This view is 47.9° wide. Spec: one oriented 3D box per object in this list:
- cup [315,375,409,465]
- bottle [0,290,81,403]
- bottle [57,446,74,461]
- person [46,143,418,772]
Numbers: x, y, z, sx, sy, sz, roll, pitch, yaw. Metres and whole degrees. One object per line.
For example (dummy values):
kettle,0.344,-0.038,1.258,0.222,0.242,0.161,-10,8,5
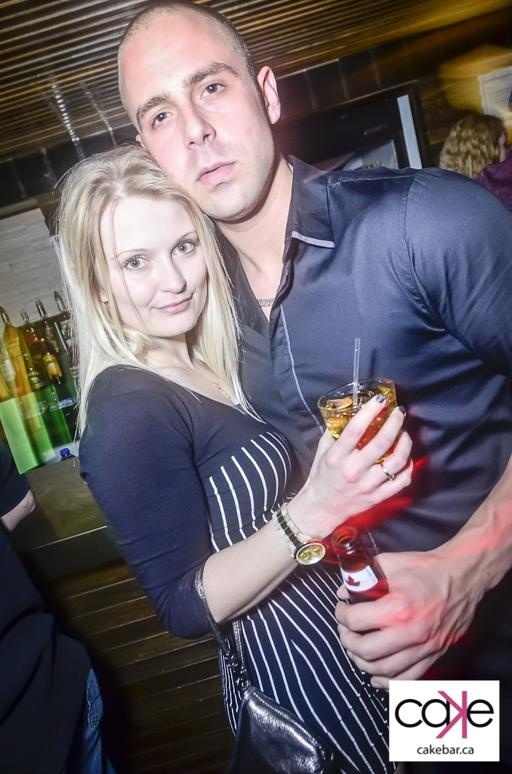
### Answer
cup,0.182,0.046,1.080,0.139,0.125,0.150,-32,3,2
bottle,-1.171,-0.202,3.130,0.256,0.966,0.218,-1,-33,-38
bottle,-0.950,0.329,2.886,0.058,0.054,0.057,-10,5,35
person,-0.081,0.113,1.361,0.629,0.993,0.869,-23,15,-4
